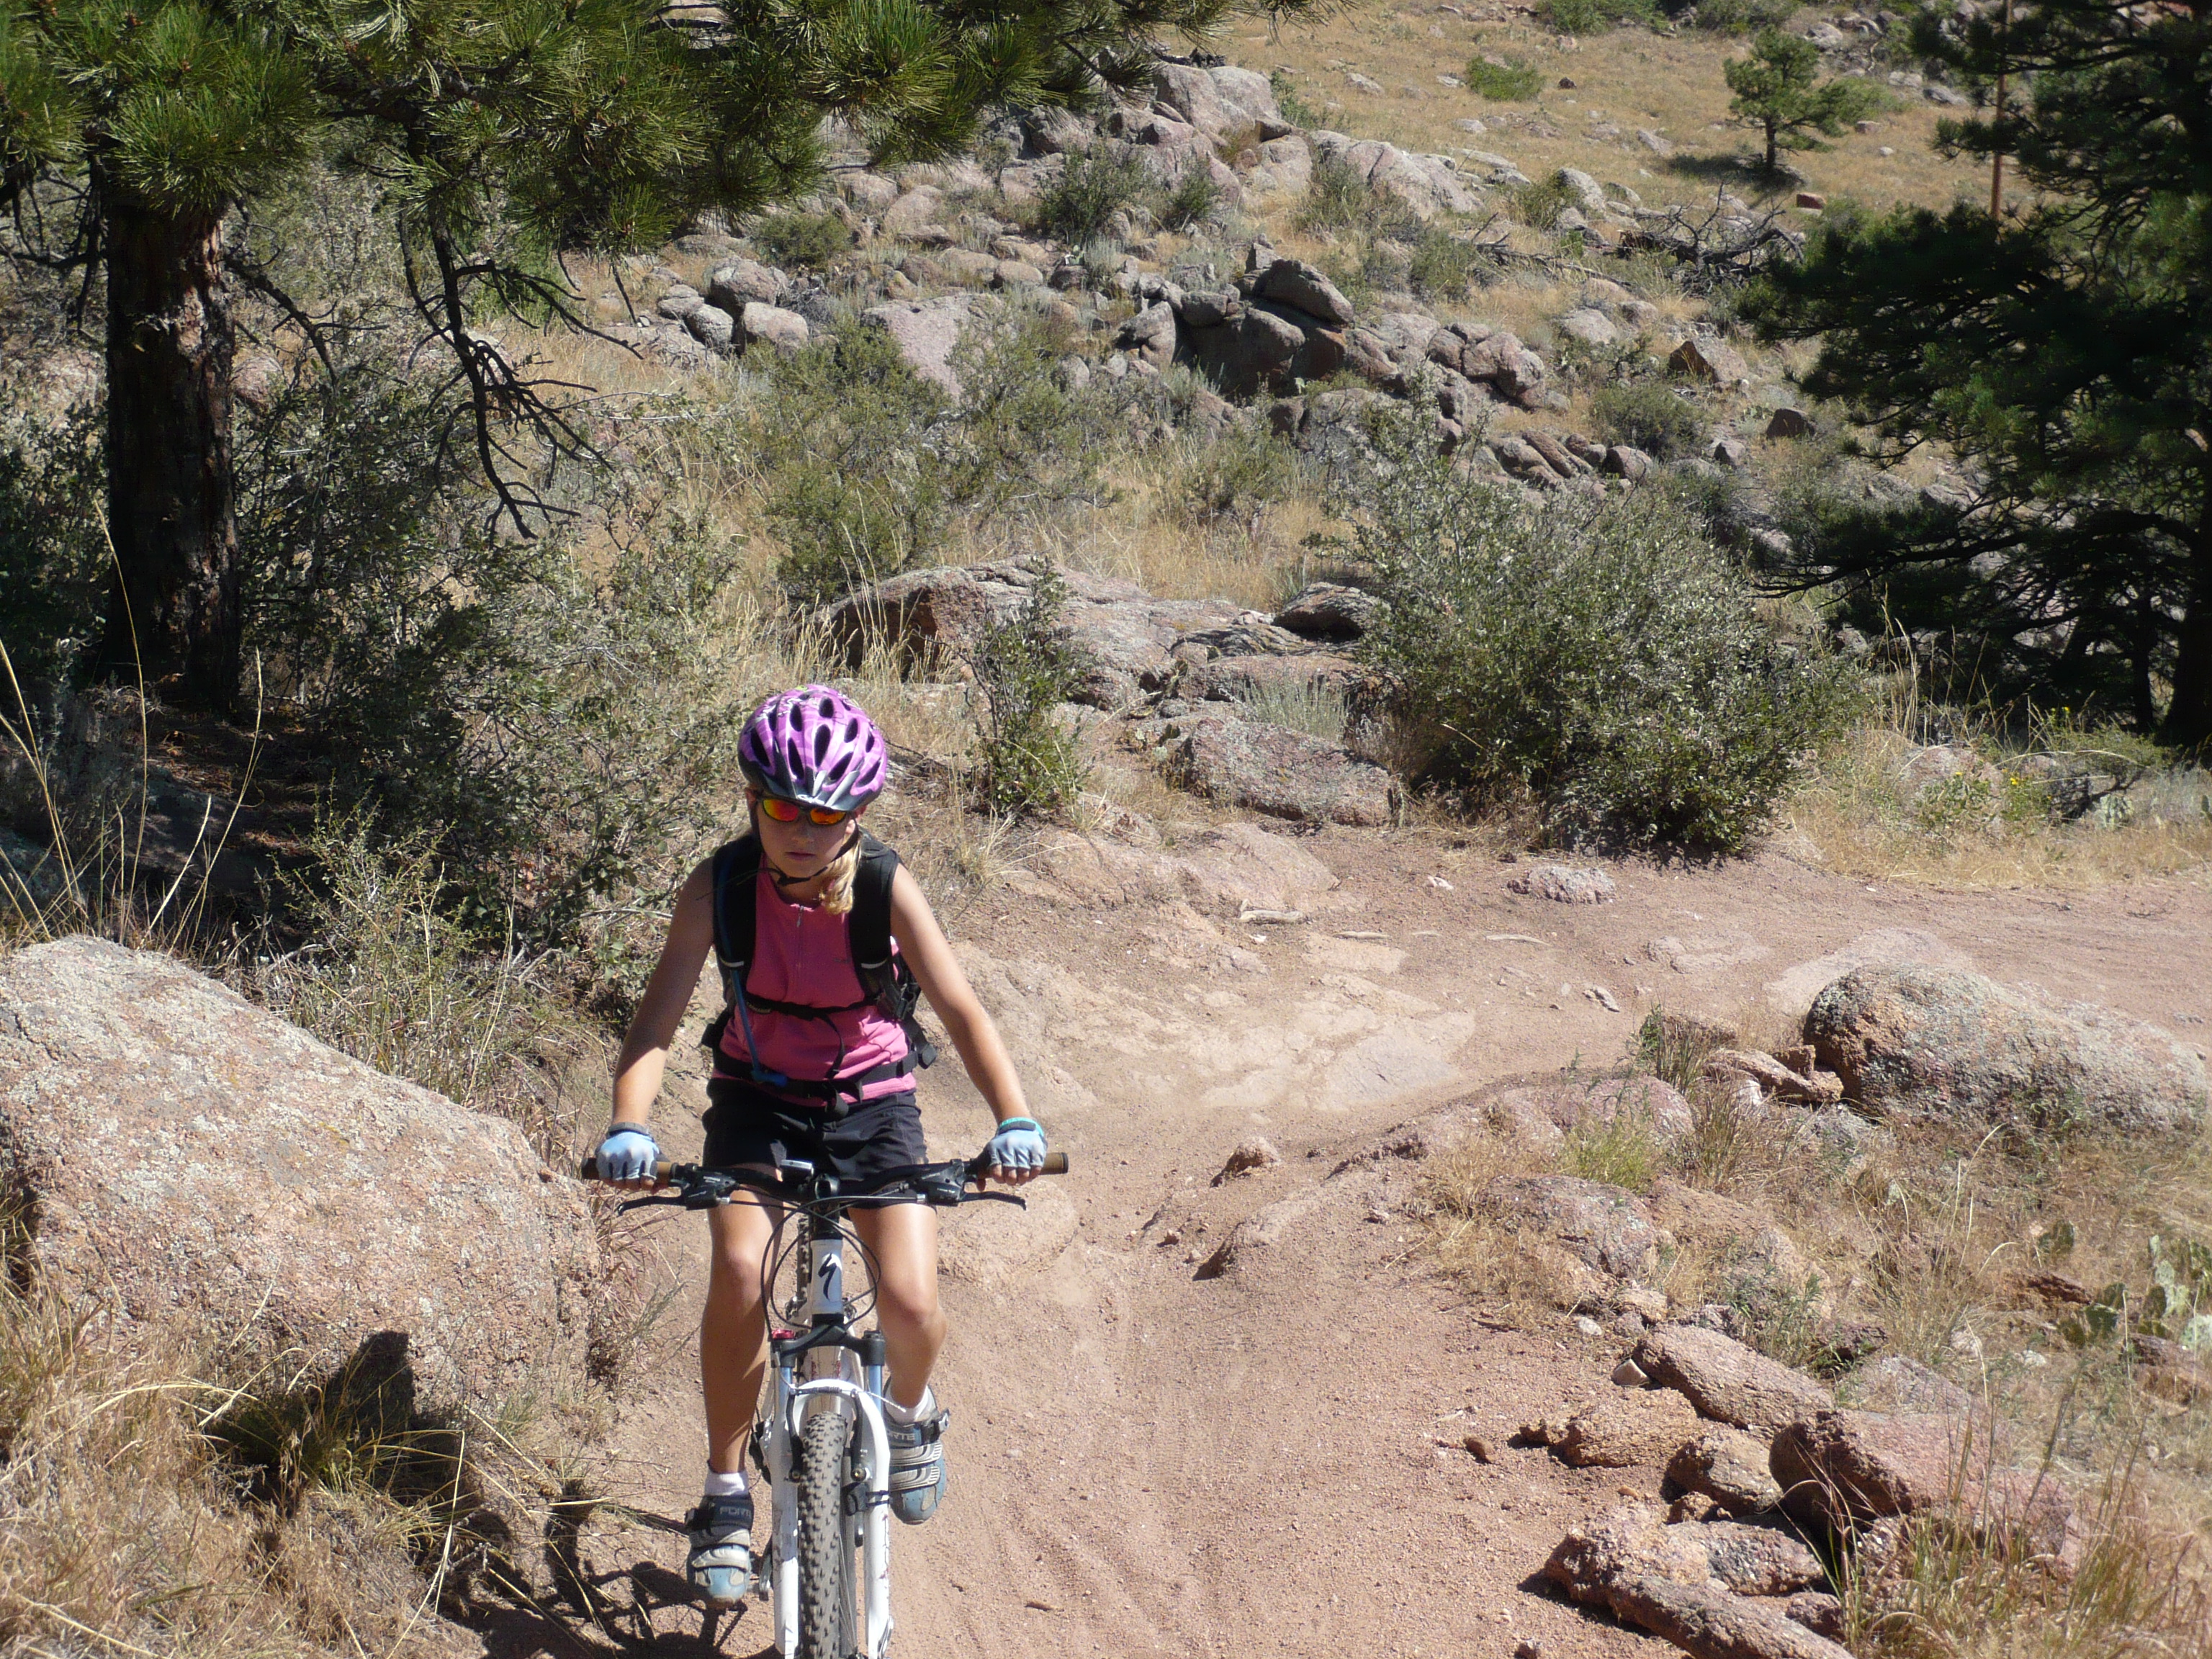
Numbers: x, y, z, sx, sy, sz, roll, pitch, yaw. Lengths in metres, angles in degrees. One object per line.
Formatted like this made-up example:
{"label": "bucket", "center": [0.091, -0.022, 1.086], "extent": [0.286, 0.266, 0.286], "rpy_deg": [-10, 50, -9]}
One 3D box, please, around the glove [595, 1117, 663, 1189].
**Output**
{"label": "glove", "center": [-2.000, 1.361, 13.204], "extent": [0.256, 0.215, 0.420], "rpy_deg": [1, 14, -11]}
